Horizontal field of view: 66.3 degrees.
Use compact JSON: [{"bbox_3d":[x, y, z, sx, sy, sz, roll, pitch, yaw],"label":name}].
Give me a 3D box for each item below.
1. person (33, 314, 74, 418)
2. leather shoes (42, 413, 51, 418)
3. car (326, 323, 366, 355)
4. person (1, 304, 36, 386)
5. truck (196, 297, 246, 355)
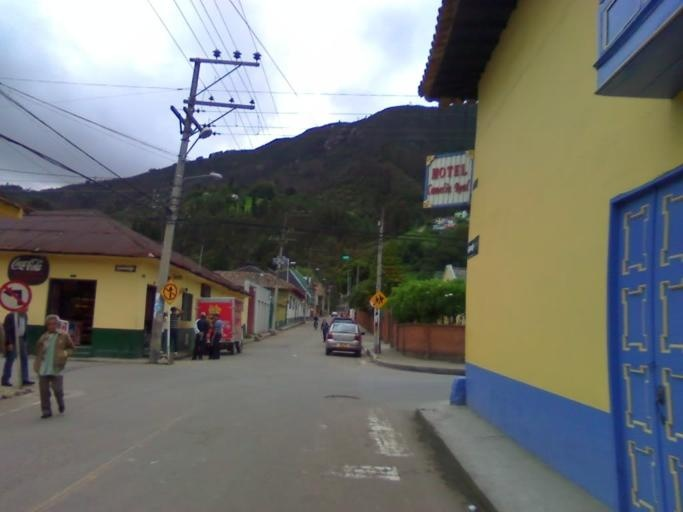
[{"bbox_3d":[-5.285,1.978,9.616,0.614,1.800,1.066,5,-8,-31],"label":"person"},{"bbox_3d":[-5.118,2.762,9.085,0.148,0.085,0.149,6,-10,-27],"label":"leather shoes"},{"bbox_3d":[0.138,4.149,26.627,1.636,1.785,2.130,-1,-9,13],"label":"car"},{"bbox_3d":[-7.366,2.103,11.929,0.662,1.678,2.083,5,-9,-30],"label":"person"},{"bbox_3d":[-5.948,3.523,25.840,1.928,2.791,3.661,-1,-6,-8],"label":"truck"}]
